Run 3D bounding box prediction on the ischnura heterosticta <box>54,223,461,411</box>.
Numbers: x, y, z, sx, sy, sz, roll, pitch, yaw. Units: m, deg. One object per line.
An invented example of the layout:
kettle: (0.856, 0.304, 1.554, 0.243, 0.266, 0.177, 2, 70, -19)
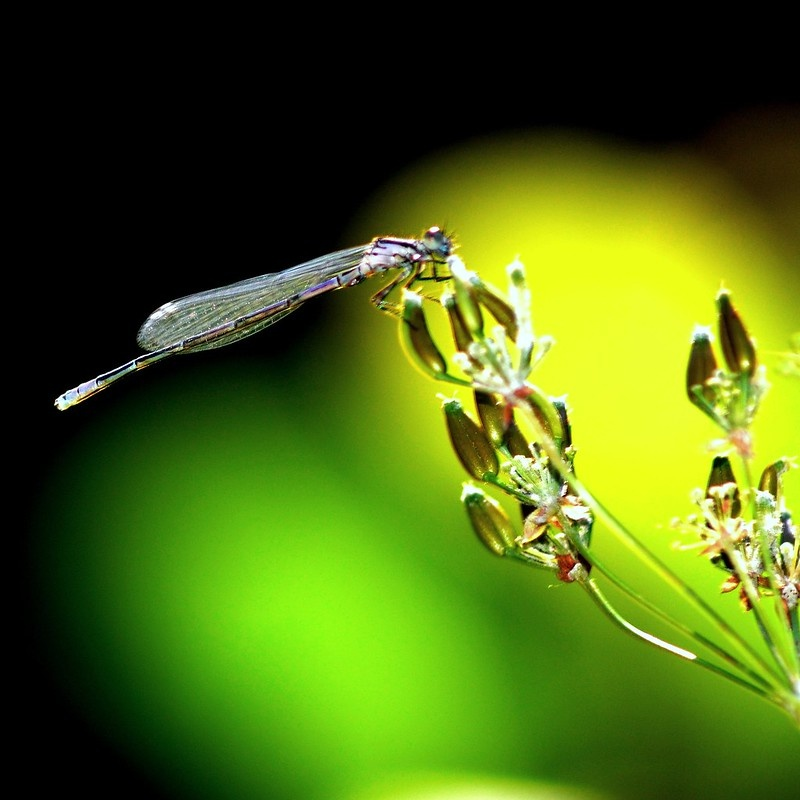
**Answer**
ischnura heterosticta: (-0.189, -0.153, 1.797, 0.602, 0.117, 0.159, -19, -28, -1)
